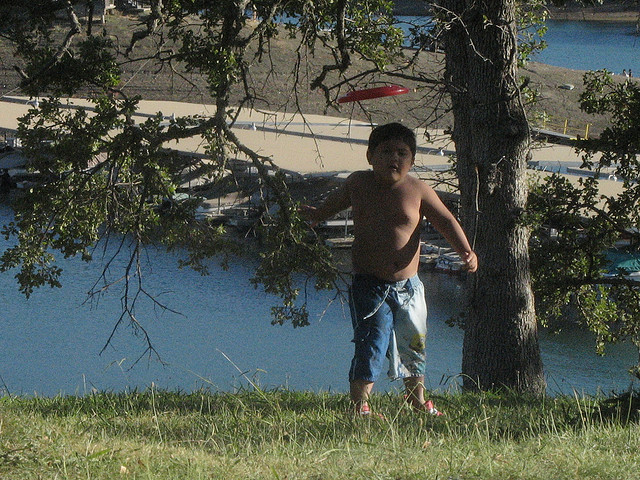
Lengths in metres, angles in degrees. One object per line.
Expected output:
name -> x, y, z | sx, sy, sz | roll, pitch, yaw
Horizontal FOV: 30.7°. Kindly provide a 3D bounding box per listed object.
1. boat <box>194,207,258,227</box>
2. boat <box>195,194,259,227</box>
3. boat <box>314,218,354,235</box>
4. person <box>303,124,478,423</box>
boat -> -1.883, -0.472, 24.116 | 0.623, 0.257, 1.192 | 5, 6, 27
boat -> -2.261, -0.730, 29.523 | 1.170, 0.830, 4.926 | 1, 0, -4
boat -> 0.367, -0.349, 29.798 | 0.945, 0.420, 1.746 | 1, 0, -1
person -> 0.697, 0.287, 11.335 | 1.337, 2.836, 0.645 | 1, 0, -2
